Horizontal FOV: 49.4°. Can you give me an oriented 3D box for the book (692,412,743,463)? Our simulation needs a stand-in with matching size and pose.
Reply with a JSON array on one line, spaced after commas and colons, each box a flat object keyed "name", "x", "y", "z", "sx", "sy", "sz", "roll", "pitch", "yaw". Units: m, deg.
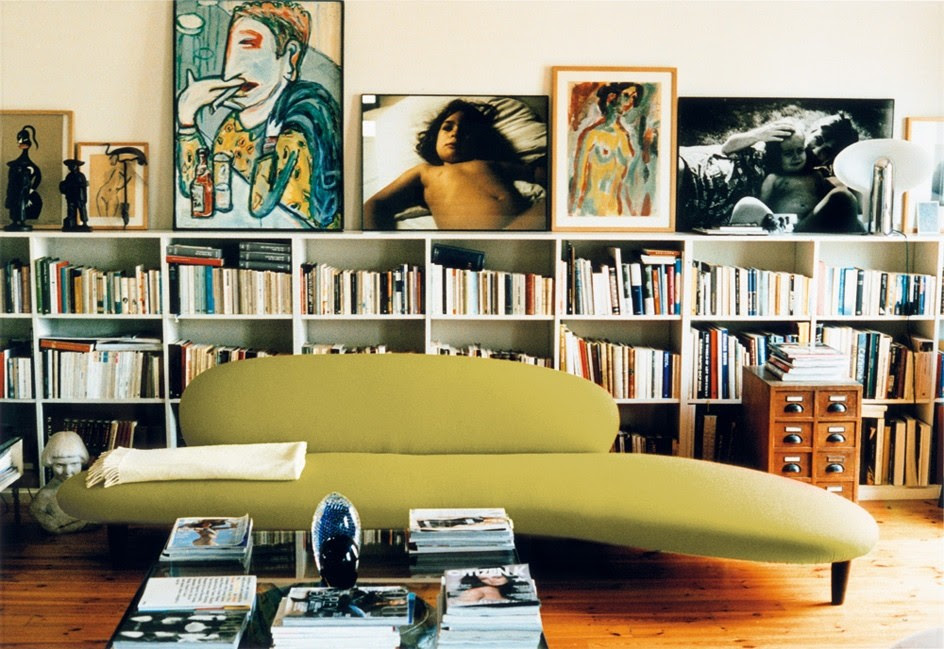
[{"name": "book", "x": 1.638, "y": 0.731, "z": 6.797, "sx": 0.304, "sy": 0.414, "sz": 0.334, "roll": 0, "pitch": -1, "yaw": 20}]

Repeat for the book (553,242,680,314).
[{"name": "book", "x": 0.989, "y": -0.293, "z": 6.725, "sx": 0.763, "sy": 0.474, "sz": 0.210, "roll": 0, "pitch": 3, "yaw": 4}]

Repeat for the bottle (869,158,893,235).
[{"name": "bottle", "x": 2.624, "y": -0.823, "z": 6.574, "sx": 0.142, "sy": 0.479, "sz": 0.095, "roll": 0, "pitch": 4, "yaw": 18}]

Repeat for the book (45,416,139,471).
[{"name": "book", "x": -2.352, "y": 0.749, "z": 6.356, "sx": 0.319, "sy": 0.278, "sz": 0.110, "roll": 1, "pitch": 0, "yaw": -5}]

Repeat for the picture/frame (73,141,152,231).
[{"name": "picture/frame", "x": -2.380, "y": -0.923, "z": 6.730, "sx": 0.627, "sy": 0.733, "sz": 0.052, "roll": 0, "pitch": 4, "yaw": 3}]

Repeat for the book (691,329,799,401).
[{"name": "book", "x": 1.769, "y": 0.240, "z": 6.748, "sx": 0.836, "sy": 0.578, "sz": 0.442, "roll": 2, "pitch": 4, "yaw": 2}]

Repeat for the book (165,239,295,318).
[{"name": "book", "x": -1.556, "y": -0.298, "z": 6.613, "sx": 0.776, "sy": 0.467, "sz": 0.167, "roll": 0, "pitch": 3, "yaw": 9}]

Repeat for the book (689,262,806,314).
[{"name": "book", "x": 1.818, "y": -0.212, "z": 6.688, "sx": 0.757, "sy": 0.319, "sz": 0.134, "roll": -1, "pitch": 3, "yaw": -6}]

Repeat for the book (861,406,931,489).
[{"name": "book", "x": 2.748, "y": 0.822, "z": 6.897, "sx": 0.536, "sy": 0.647, "sz": 0.490, "roll": 2, "pitch": 6, "yaw": 14}]

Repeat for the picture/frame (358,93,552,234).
[{"name": "picture/frame", "x": -0.152, "y": -1.098, "z": 6.761, "sx": 0.969, "sy": 0.671, "sz": 0.013, "roll": 0, "pitch": 3, "yaw": 1}]

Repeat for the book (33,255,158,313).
[{"name": "book", "x": -2.395, "y": -0.245, "z": 6.592, "sx": 0.785, "sy": 0.363, "sz": 0.170, "roll": 0, "pitch": 3, "yaw": 7}]
